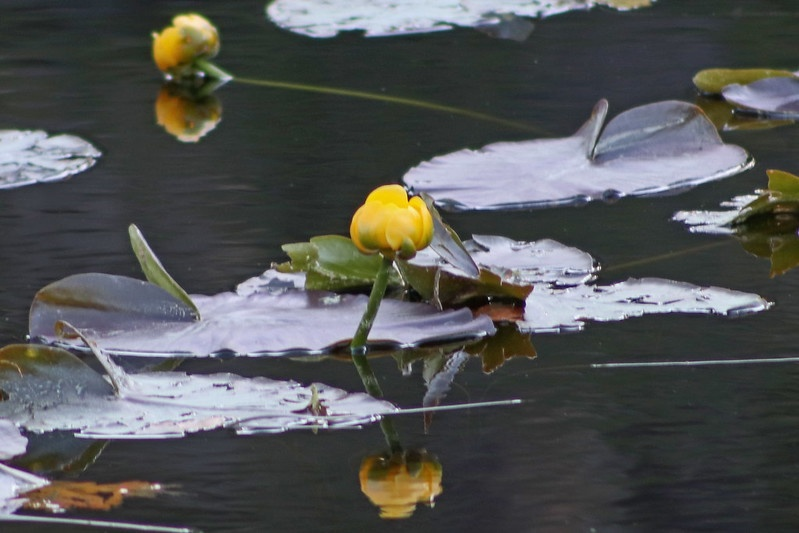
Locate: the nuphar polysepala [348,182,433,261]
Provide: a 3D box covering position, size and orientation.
[{"bbox_3d":[-0.020,-0.067,2.451,0.103,0.124,0.114,1,91,-16],"label":"nuphar polysepala"}]

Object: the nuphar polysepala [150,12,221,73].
[{"bbox_3d":[-0.449,-0.467,3.464,0.154,0.111,0.100,-9,90,26],"label":"nuphar polysepala"}]
